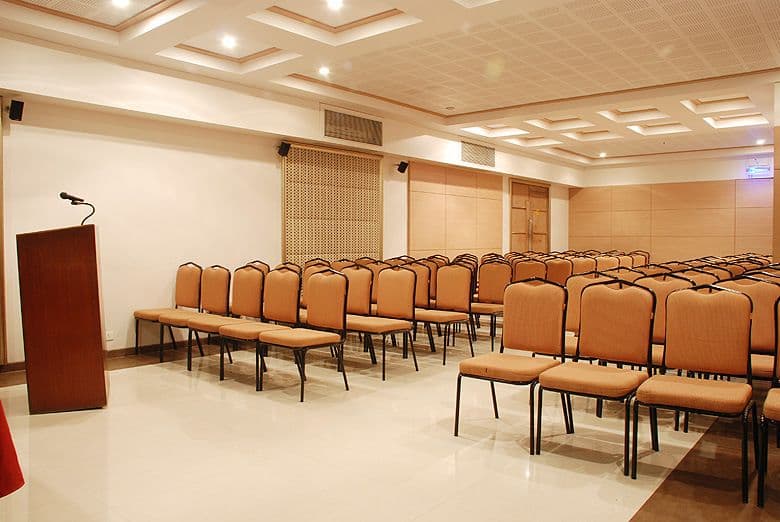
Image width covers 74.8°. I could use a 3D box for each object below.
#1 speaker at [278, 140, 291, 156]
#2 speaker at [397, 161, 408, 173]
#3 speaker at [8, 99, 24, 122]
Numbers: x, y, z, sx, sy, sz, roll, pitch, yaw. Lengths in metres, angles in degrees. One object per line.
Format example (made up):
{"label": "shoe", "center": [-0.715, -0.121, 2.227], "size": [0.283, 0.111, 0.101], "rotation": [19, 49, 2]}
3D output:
{"label": "speaker", "center": [-2.011, -2.122, 9.722], "size": [0.264, 0.286, 0.133], "rotation": [-3, 10, -11]}
{"label": "speaker", "center": [0.309, -2.198, 12.071], "size": [0.273, 0.155, 0.279], "rotation": [1, 5, -43]}
{"label": "speaker", "center": [-5.103, -2.059, 7.023], "size": [0.166, 0.272, 0.212], "rotation": [8, 13, 41]}
